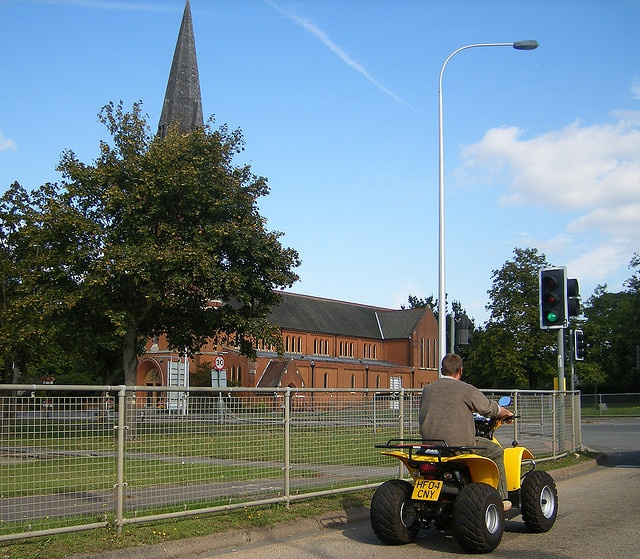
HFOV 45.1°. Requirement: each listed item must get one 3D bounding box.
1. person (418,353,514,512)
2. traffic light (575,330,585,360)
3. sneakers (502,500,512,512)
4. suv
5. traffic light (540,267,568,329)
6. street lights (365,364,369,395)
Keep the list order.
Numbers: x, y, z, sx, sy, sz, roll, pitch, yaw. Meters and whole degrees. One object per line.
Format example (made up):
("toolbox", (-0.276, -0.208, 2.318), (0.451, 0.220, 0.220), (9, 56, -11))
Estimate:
("person", (1.914, 1.920, 9.922), (1.124, 1.975, 1.170), (1, -1, 17))
("traffic light", (7.323, 1.838, 21.723), (0.310, 0.801, 0.557), (-3, -9, 19))
("sneakers", (2.347, 2.841, 9.680), (0.174, 0.066, 0.185), (2, 5, 28))
("suv", (1.760, 2.528, 10.180), (1.415, 1.990, 2.369), (-5, -6, 42))
("traffic light", (4.918, 0.383, 16.288), (0.557, 1.312, 0.412), (-4, -9, 24))
("street lights", (4.569, 9.446, 75.320), (0.371, 2.037, 0.894), (0, -9, 3))
